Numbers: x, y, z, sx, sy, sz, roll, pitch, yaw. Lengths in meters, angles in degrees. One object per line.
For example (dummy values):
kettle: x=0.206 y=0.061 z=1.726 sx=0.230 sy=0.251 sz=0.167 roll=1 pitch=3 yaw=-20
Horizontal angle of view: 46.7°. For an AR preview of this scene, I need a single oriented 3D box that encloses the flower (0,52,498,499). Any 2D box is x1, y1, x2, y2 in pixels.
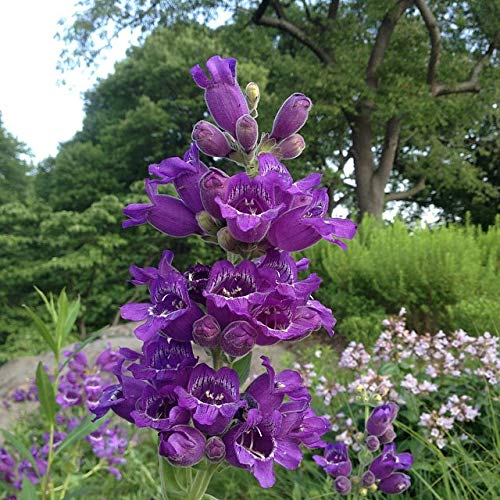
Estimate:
flower: x=-0.065 y=0.174 z=2.971 sx=1.970 sy=1.798 sz=0.827 roll=6 pitch=3 yaw=-21
